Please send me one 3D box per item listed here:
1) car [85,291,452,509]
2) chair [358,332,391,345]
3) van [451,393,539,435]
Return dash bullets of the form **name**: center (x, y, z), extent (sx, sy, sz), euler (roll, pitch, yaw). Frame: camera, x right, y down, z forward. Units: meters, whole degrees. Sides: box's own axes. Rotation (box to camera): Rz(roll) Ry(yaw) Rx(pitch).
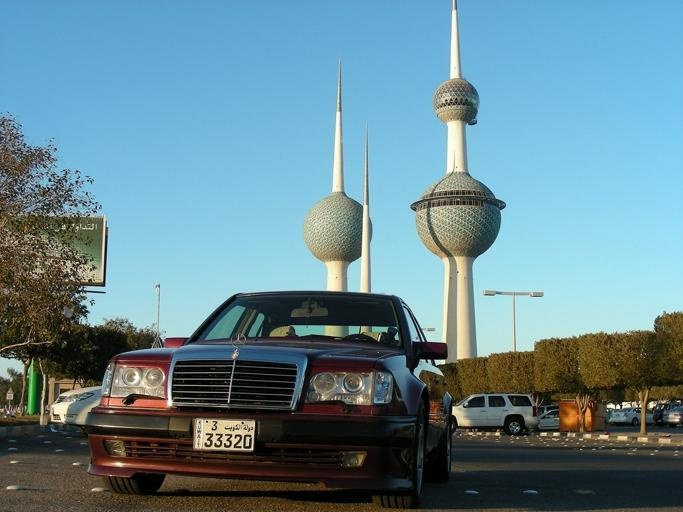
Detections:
- **car**: center (-0.627, 1.177, 9.198), extent (2.238, 1.451, 3.702), euler (-2, -13, 14)
- **chair**: center (0.371, 0.868, 10.084), extent (0.167, 0.135, 0.171), euler (7, -9, -41)
- **van**: center (5.743, 5.781, 35.226), extent (4.163, 1.644, 2.083), euler (1, -9, 8)
